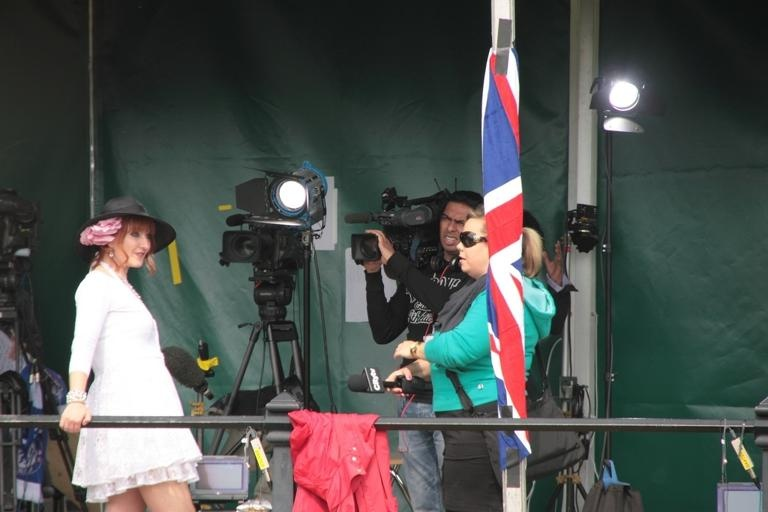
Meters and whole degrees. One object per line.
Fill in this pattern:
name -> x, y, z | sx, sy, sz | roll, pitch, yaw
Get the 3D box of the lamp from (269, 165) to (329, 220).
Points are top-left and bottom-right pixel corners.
lamp -> -0.674, -0.478, 13.153 | 0.478, 0.431, 0.321 | -1, 13, -10

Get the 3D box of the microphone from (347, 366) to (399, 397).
microphone -> -0.070, 0.893, 11.765 | 0.323, 0.180, 0.369 | -5, -10, 7

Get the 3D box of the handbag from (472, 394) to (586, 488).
handbag -> 1.086, 1.331, 12.135 | 0.657, 0.607, 0.690 | 4, 3, 1

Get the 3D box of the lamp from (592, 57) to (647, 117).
lamp -> 1.929, -1.324, 13.484 | 0.488, 0.421, 0.203 | -5, -11, 8

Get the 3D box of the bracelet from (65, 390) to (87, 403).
bracelet -> -2.170, 0.983, 11.525 | 0.107, 0.091, 0.097 | -4, -1, 40

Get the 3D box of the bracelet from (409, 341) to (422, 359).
bracelet -> 0.229, 0.690, 12.026 | 0.087, 0.104, 0.118 | 11, 27, 15

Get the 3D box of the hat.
hat -> -1.955, -0.162, 12.256 | 0.442, 0.557, 0.804 | 4, 16, 14

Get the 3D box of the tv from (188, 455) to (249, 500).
tv -> -1.176, 1.594, 11.812 | 0.553, 0.352, 0.302 | -2, -13, 6
